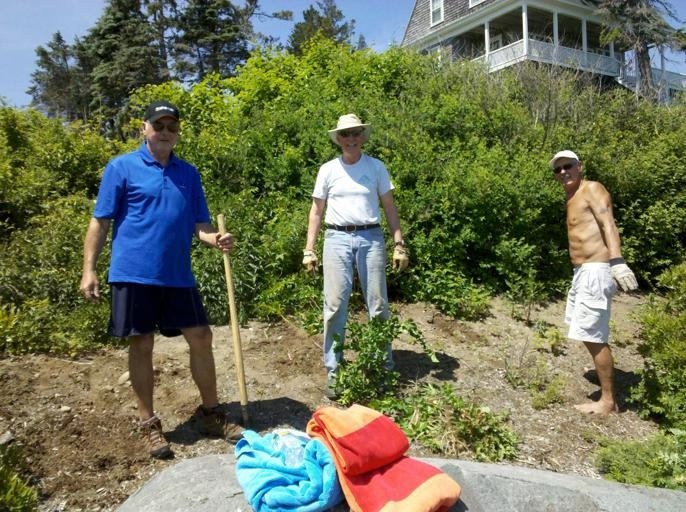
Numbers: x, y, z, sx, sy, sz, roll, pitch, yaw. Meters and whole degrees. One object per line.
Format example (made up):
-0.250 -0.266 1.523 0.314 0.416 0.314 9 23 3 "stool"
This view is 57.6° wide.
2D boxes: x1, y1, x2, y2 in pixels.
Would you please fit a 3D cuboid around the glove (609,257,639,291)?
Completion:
3.466 0.246 7.684 0.267 0.472 0.141 -32 -34 24 "glove"

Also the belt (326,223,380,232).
0.113 -0.335 7.607 0.637 0.099 0.131 0 3 3 "belt"

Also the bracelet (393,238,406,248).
0.712 -0.155 7.824 0.135 0.108 0.155 6 -1 2 "bracelet"

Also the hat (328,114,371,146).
0.042 -1.674 7.879 0.409 0.188 0.500 -10 -25 -2 "hat"

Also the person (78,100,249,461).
-2.016 0.232 6.738 1.472 3.790 0.571 -1 3 -17 "person"

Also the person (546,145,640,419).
3.194 0.296 7.970 0.572 3.336 1.133 -1 4 -22 "person"

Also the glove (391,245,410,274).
0.721 0.045 7.869 0.216 0.339 0.110 1 3 5 "glove"
